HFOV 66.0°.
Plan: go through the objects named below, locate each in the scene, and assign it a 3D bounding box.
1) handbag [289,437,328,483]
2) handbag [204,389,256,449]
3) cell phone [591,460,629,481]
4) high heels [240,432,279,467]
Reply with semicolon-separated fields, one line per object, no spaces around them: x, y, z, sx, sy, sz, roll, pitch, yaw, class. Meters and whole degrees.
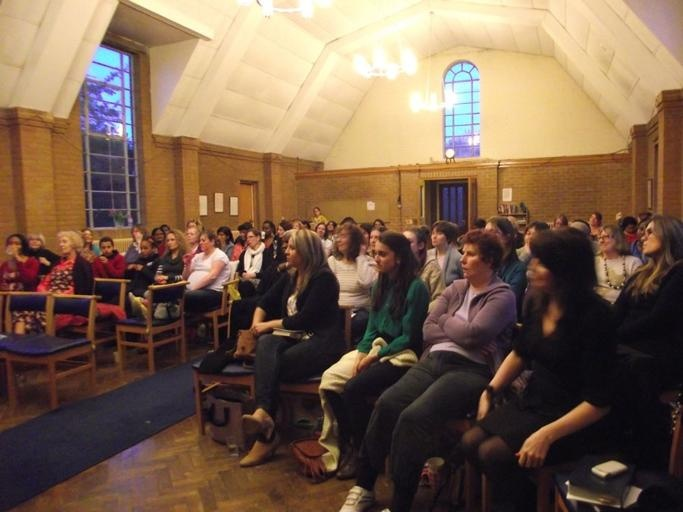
-0.221;1.526;3.943;0.203;0.177;0.318;-9;15;-29;handbag
-0.893;1.276;4.453;0.500;0.449;0.369;-2;-1;34;handbag
1.381;1.076;2.691;0.152;0.037;0.084;-4;3;-41;cell phone
-0.619;1.492;4.103;0.162;0.136;0.304;-8;2;42;high heels
